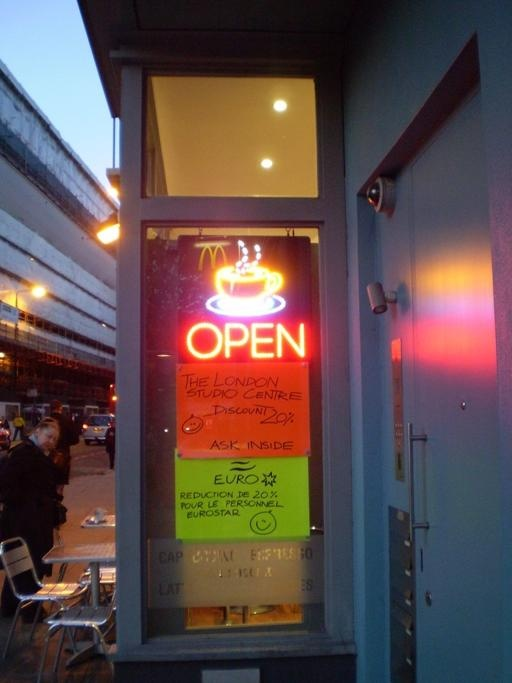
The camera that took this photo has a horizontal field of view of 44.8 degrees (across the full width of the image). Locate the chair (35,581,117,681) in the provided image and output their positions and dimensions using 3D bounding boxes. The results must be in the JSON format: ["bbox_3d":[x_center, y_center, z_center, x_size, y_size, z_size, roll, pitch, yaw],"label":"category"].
[{"bbox_3d":[-1.209,1.979,4.239,0.474,0.409,1.050,2,-12,-13],"label":"chair"}]
